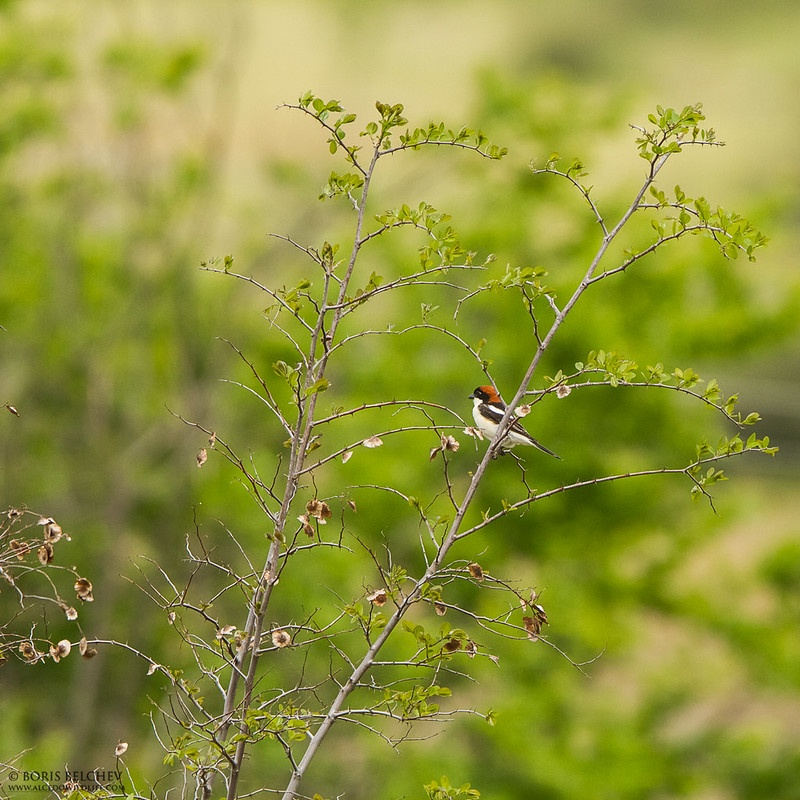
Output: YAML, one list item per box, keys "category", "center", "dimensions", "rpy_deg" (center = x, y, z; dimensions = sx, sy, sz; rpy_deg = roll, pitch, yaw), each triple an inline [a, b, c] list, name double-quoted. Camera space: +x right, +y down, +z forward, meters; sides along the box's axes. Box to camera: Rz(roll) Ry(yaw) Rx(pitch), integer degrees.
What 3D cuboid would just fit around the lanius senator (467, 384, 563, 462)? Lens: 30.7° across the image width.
- category: "lanius senator"
  center: [0.887, 0.188, 11.290]
  dimensions: [0.838, 0.222, 0.395]
  rpy_deg: [24, -81, 34]
